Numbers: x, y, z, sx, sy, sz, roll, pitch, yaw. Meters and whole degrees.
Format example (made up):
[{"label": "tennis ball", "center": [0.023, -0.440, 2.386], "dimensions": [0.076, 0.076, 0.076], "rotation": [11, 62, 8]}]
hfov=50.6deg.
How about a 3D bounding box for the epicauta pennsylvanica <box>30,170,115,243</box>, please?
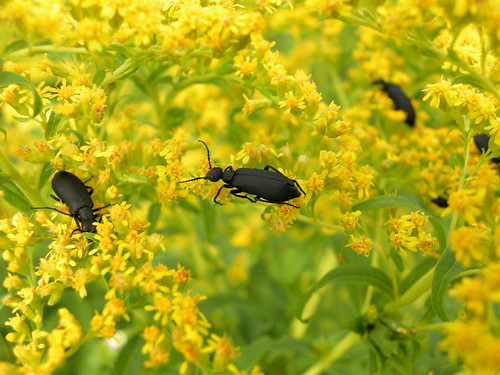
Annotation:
[{"label": "epicauta pennsylvanica", "center": [-1.040, 0.088, 3.178], "dimensions": [0.248, 0.392, 0.208], "rotation": [-10, 4, -28]}]
